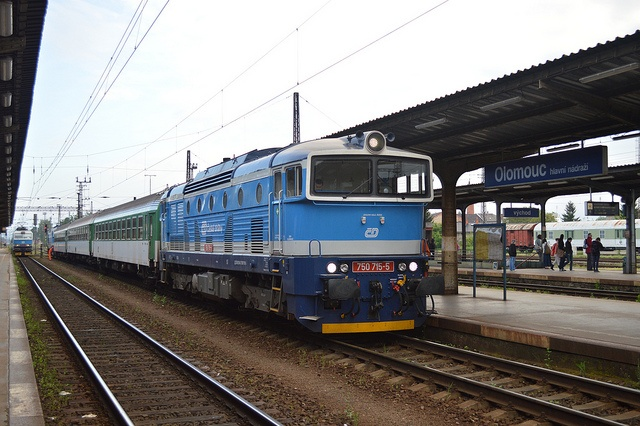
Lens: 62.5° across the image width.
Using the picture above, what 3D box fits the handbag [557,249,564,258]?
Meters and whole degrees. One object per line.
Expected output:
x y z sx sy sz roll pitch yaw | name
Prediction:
13.142 2.203 28.674 0.374 0.427 0.538 1 2 28 | handbag

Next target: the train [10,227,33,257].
-40.320 3.701 71.079 2.046 3.650 3.194 -2 3 -37 | train

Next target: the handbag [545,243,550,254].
12.826 2.010 29.659 0.256 0.651 0.628 1 2 25 | handbag
